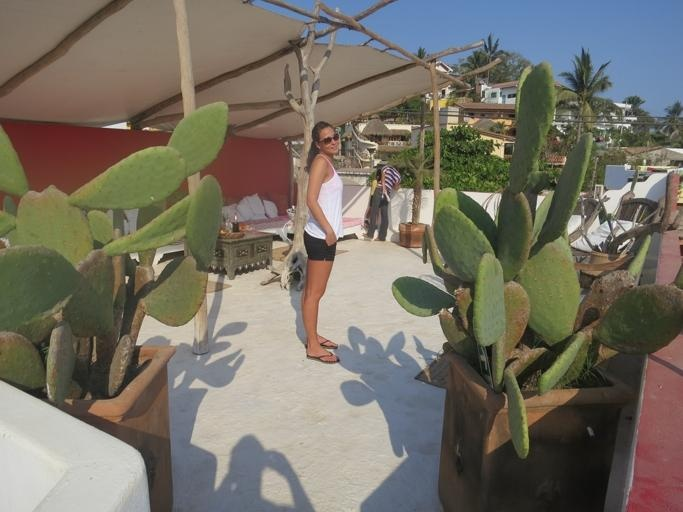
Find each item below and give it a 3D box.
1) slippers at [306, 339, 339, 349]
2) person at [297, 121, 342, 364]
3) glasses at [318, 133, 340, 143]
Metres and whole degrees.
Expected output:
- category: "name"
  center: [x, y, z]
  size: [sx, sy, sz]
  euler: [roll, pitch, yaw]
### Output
- category: "slippers"
  center: [-0.086, 0.586, 3.722]
  size: [0.127, 0.039, 0.050]
  euler: [0, 13, 8]
- category: "person"
  center: [-0.123, -0.075, 3.466]
  size: [0.241, 1.469, 0.362]
  euler: [1, 12, 0]
- category: "glasses"
  center: [-0.077, -0.708, 3.371]
  size: [0.108, 0.060, 0.046]
  euler: [-5, 13, -24]
